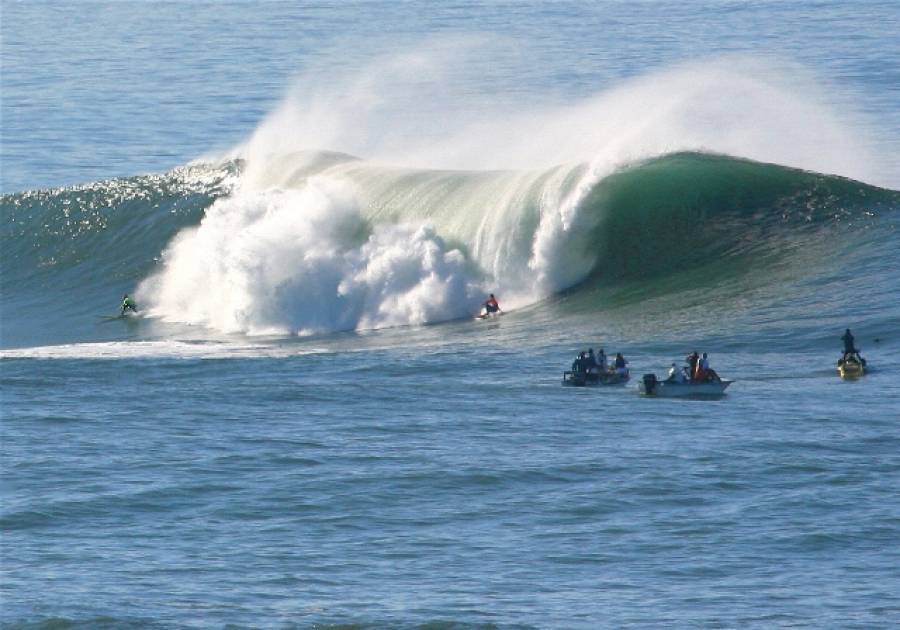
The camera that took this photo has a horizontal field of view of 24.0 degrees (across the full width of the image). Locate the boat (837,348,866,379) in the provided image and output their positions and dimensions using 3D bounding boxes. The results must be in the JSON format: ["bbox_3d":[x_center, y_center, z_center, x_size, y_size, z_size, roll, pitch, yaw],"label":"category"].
[{"bbox_3d":[8.629,1.086,45.379,0.660,0.413,1.503,-1,7,11],"label":"boat"}]

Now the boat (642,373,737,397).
[{"bbox_3d":[5.096,1.526,45.114,1.935,0.355,0.635,-1,8,2],"label":"boat"}]

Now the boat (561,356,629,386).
[{"bbox_3d":[3.137,1.244,46.017,1.292,0.355,0.671,-3,5,-18],"label":"boat"}]
